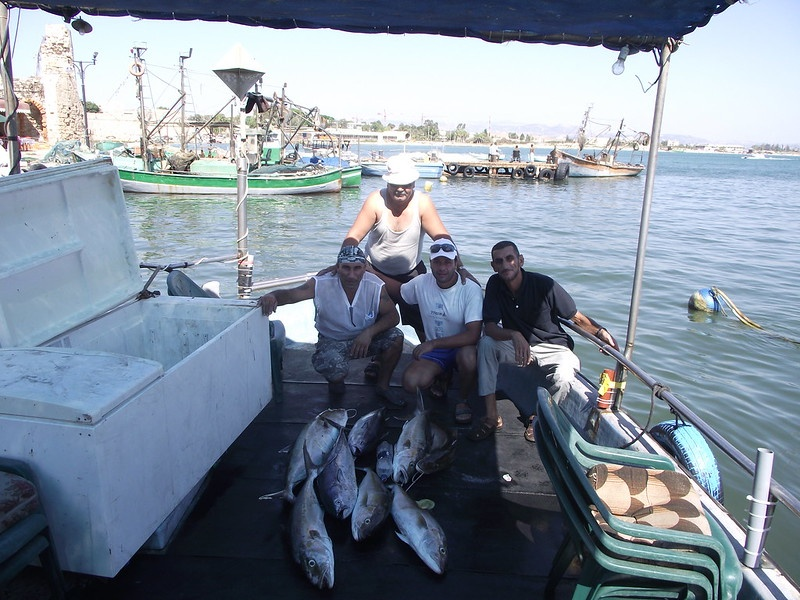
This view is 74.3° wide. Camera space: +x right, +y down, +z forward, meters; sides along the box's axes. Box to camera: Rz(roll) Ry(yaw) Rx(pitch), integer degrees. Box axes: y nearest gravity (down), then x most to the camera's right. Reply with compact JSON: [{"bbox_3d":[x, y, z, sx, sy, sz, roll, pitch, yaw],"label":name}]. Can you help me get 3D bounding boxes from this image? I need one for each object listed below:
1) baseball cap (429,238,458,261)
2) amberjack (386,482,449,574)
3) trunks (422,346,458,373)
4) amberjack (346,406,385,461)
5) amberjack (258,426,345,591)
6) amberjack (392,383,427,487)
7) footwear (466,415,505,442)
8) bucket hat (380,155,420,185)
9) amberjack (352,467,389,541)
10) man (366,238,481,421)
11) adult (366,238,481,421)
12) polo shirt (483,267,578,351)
[{"bbox_3d":[0.373,-0.454,4.745,0.239,0.165,0.286,-6,18,-25],"label":"baseball cap"},{"bbox_3d":[0.103,1.447,3.361,0.184,0.154,0.597,-8,20,-21],"label":"amberjack"},{"bbox_3d":[0.384,0.564,4.977,0.308,0.139,0.193,-6,16,-33],"label":"trunks"},{"bbox_3d":[-0.243,1.036,4.132,0.189,0.141,0.442,-37,11,25],"label":"amberjack"},{"bbox_3d":[-0.625,1.260,3.292,0.412,0.161,0.942,-33,34,15],"label":"amberjack"},{"bbox_3d":[0.064,1.063,3.993,0.279,0.152,0.652,-31,24,20],"label":"amberjack"},{"bbox_3d":[0.740,1.119,4.532,0.367,0.097,0.138,-15,19,-38],"label":"footwear"},{"bbox_3d":[0.013,-1.261,5.140,0.330,0.292,0.418,2,16,-2],"label":"bucket hat"},{"bbox_3d":[-0.195,1.354,3.513,0.204,0.119,0.513,-23,11,3],"label":"amberjack"},{"bbox_3d":[0.396,0.248,4.853,0.733,1.573,0.927,3,17,2],"label":"man"},{"bbox_3d":[0.397,0.248,4.853,0.732,1.573,0.927,3,17,2],"label":"adult"},{"bbox_3d":[1.223,0.080,4.966,0.869,0.766,0.448,-2,28,38],"label":"polo shirt"}]
